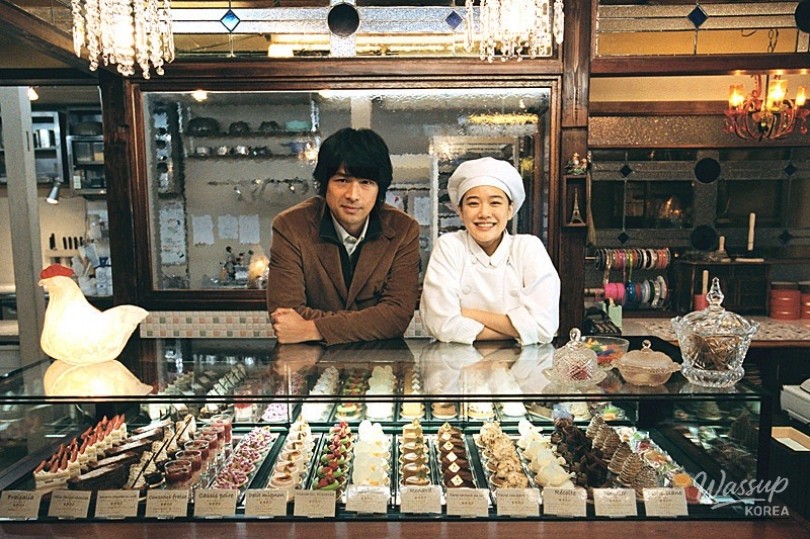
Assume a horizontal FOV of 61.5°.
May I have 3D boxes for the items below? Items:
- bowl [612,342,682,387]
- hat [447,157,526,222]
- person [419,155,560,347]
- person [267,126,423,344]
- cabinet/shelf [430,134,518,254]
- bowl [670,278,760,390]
[{"bbox_3d":[1.286,0.490,3.611,0.239,0.150,0.232,-2,7,0],"label":"bowl"},{"bbox_3d":[0.518,-0.508,4.318,0.470,0.371,0.210,-1,7,4],"label":"hat"},{"bbox_3d":[0.561,-0.148,4.603,1.235,1.496,1.089,0,7,5],"label":"person"},{"bbox_3d":[-0.410,-0.250,4.542,1.031,1.349,0.860,-3,7,-11],"label":"person"},{"bbox_3d":[0.503,-0.552,4.778,0.519,0.470,0.884,-10,-17,3],"label":"cabinet/shelf"},{"bbox_3d":[1.699,0.355,3.716,0.462,0.553,0.454,0,2,0],"label":"bowl"}]
